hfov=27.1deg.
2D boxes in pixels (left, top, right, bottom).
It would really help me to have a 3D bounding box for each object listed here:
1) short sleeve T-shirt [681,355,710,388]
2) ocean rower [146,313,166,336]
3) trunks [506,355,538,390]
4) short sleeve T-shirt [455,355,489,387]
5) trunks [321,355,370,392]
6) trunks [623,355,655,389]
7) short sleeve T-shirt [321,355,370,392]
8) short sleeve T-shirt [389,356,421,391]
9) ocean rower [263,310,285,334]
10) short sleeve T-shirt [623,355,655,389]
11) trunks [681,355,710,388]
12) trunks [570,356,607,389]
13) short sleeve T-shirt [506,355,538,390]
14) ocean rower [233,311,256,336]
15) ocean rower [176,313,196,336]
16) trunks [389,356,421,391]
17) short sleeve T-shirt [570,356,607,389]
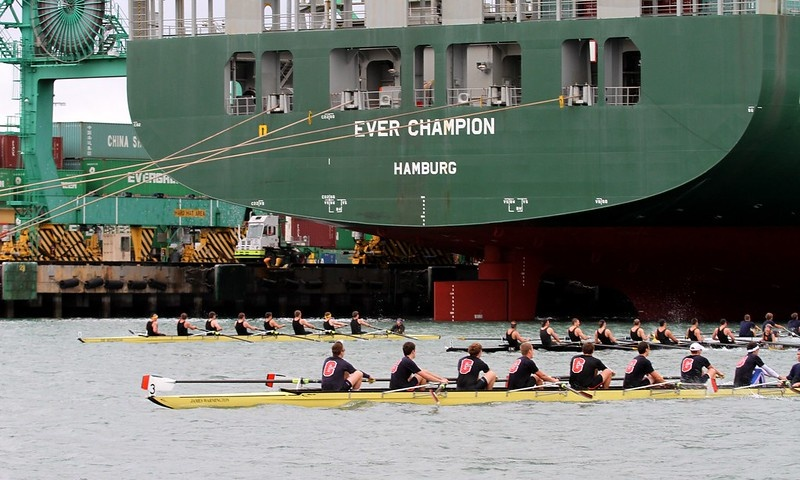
[{"bbox_3d":[10.697,4.539,59.355,0.910,1.149,1.099,7,8,37],"label":"short sleeve T-shirt"},{"bbox_3d":[-10.330,3.564,70.424,0.618,0.998,0.621,15,21,42],"label":"ocean rower"},{"bbox_3d":[4.372,4.590,58.590,1.233,1.278,1.045,-2,11,-43],"label":"trunks"},{"bbox_3d":[2.520,4.629,58.404,1.160,1.240,0.694,4,3,23],"label":"short sleeve T-shirt"},{"bbox_3d":[-1.817,4.758,58.627,1.541,1.360,2.086,0,1,25],"label":"trunks"},{"bbox_3d":[8.410,4.596,58.799,1.248,1.188,0.937,0,13,-39],"label":"trunks"},{"bbox_3d":[-1.959,4.579,58.236,1.119,1.020,1.567,13,17,42],"label":"short sleeve T-shirt"},{"bbox_3d":[0.366,4.697,58.363,1.465,1.379,1.247,2,0,-18],"label":"short sleeve T-shirt"},{"bbox_3d":[-5.365,3.466,70.862,0.640,1.352,0.806,8,18,39],"label":"ocean rower"},{"bbox_3d":[8.599,4.634,58.824,1.248,1.188,0.937,0,13,-39],"label":"short sleeve T-shirt"},{"bbox_3d":[10.459,4.576,59.219,0.910,1.149,1.099,7,8,37],"label":"trunks"},{"bbox_3d":[6.611,4.610,58.552,1.053,1.168,1.239,15,30,37],"label":"trunks"},{"bbox_3d":[4.238,4.589,58.640,1.233,1.278,1.045,-2,11,-43],"label":"short sleeve T-shirt"},{"bbox_3d":[-6.570,3.521,70.479,0.708,1.056,0.664,4,20,24],"label":"ocean rower"},{"bbox_3d":[-8.976,3.547,69.832,0.666,1.175,0.700,8,17,26],"label":"ocean rower"},{"bbox_3d":[0.277,4.569,58.279,1.176,1.262,1.121,2,9,-30],"label":"trunks"},{"bbox_3d":[6.517,4.630,58.650,1.053,1.168,1.239,15,30,37],"label":"short sleeve T-shirt"}]
